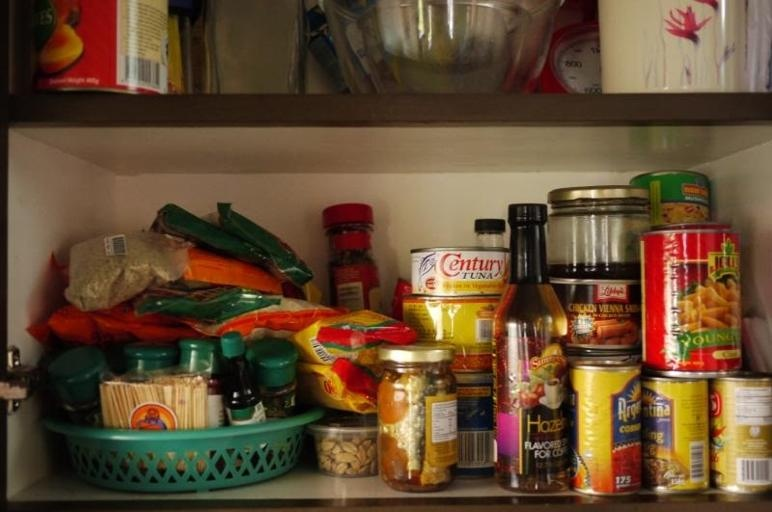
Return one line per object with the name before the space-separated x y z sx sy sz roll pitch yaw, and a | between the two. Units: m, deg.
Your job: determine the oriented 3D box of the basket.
basket | -0.359 0.352 1.454 0.543 0.115 0.509 -3 -3 1
